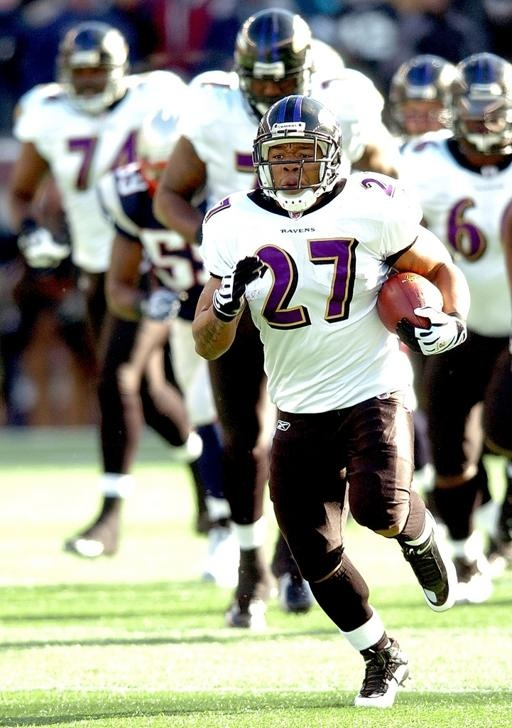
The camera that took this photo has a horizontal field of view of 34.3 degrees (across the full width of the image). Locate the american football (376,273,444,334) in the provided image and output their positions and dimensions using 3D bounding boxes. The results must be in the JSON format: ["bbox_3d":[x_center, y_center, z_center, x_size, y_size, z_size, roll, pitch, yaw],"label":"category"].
[{"bbox_3d":[0.286,-0.131,1.603,0.104,0.078,0.130,-36,22,-2],"label":"american football"}]

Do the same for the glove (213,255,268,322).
[{"bbox_3d":[-0.039,-0.135,1.531,0.075,0.049,0.120,34,79,-6],"label":"glove"}]
